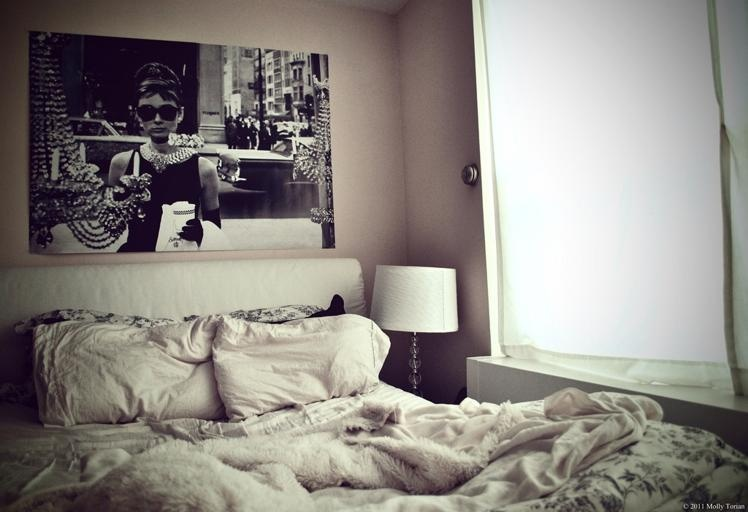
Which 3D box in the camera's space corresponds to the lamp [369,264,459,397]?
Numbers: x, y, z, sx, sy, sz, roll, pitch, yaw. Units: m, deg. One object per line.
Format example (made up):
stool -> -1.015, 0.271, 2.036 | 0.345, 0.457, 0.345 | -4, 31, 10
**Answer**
lamp -> 0.257, 0.513, 3.558 | 0.467, 0.775, 0.507 | 3, 0, 26
